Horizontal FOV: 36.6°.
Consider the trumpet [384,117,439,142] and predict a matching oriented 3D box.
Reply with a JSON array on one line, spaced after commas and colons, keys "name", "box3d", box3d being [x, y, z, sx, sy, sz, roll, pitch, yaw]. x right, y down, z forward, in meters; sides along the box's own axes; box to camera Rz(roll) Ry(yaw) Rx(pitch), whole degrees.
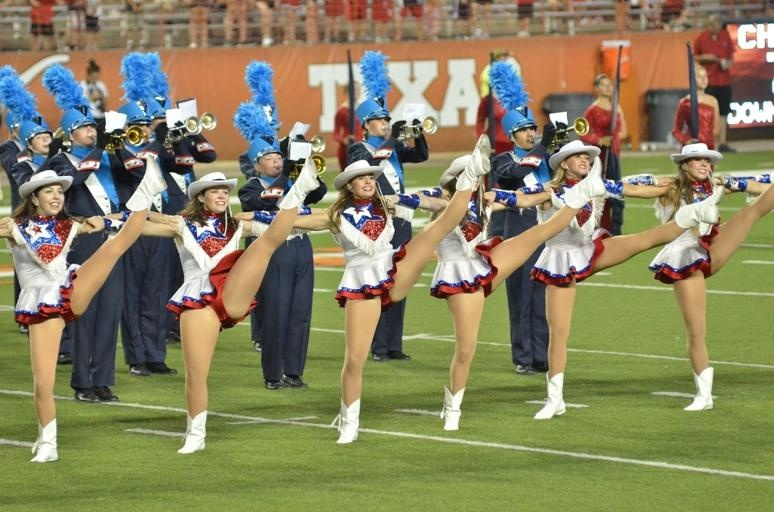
[{"name": "trumpet", "box3d": [0.159, -1.219, 11.282, 0.508, 0.264, 0.216, -5, -3, 36]}]

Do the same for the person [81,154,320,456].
[{"name": "person", "box3d": [-1.229, 0.122, 8.717, 1.057, 2.559, 0.978, -5, 8, -41]}]

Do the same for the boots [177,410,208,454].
[{"name": "boots", "box3d": [-1.438, 1.292, 8.566, 0.156, 0.288, 0.286, 6, 5, 26]}]

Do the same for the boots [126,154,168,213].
[{"name": "boots", "box3d": [-1.706, -0.516, 8.351, 0.237, 0.397, 0.256, 3, 12, 20]}]

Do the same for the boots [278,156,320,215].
[{"name": "boots", "box3d": [-0.613, -0.498, 8.455, 0.241, 0.408, 0.208, 32, 11, 5]}]

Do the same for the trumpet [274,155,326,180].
[{"name": "trumpet", "box3d": [-0.721, -0.697, 9.278, 0.186, 0.163, 0.368, -5, 3, -31]}]

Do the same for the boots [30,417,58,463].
[{"name": "boots", "box3d": [-2.490, 1.312, 8.460, 0.184, 0.298, 0.277, -5, 11, -16]}]

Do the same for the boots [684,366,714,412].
[{"name": "boots", "box3d": [2.512, 1.046, 9.440, 0.223, 0.347, 0.390, 2, 11, 16]}]

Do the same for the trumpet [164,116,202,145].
[{"name": "trumpet", "box3d": [-1.846, -1.104, 10.440, 0.356, 0.159, 0.200, -8, -19, 42]}]

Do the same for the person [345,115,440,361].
[{"name": "person", "box3d": [0.033, -0.171, 11.047, 0.777, 2.200, 0.844, 1, 0, -11]}]

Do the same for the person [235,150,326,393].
[{"name": "person", "box3d": [-0.885, 0.217, 10.361, 0.796, 1.823, 0.668, 4, -2, -21]}]
